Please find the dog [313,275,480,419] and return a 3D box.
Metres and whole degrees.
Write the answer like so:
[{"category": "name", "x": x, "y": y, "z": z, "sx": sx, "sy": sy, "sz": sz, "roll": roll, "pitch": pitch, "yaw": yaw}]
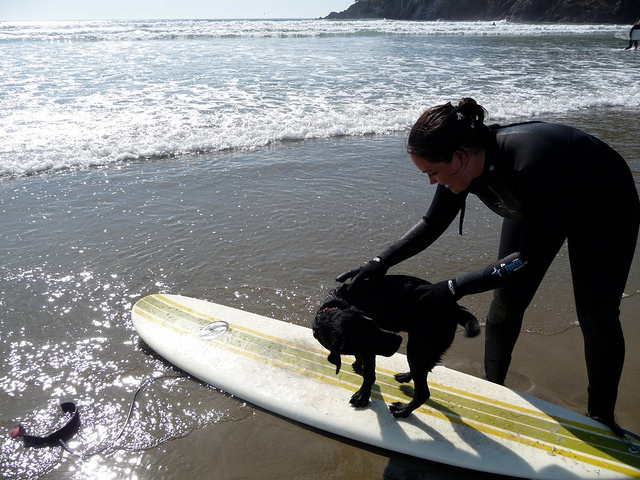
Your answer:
[{"category": "dog", "x": 0.655, "y": 0.830, "z": 3.733, "sx": 1.366, "sy": 0.732, "sz": 0.565, "roll": -16, "pitch": -22, "yaw": 41}]
